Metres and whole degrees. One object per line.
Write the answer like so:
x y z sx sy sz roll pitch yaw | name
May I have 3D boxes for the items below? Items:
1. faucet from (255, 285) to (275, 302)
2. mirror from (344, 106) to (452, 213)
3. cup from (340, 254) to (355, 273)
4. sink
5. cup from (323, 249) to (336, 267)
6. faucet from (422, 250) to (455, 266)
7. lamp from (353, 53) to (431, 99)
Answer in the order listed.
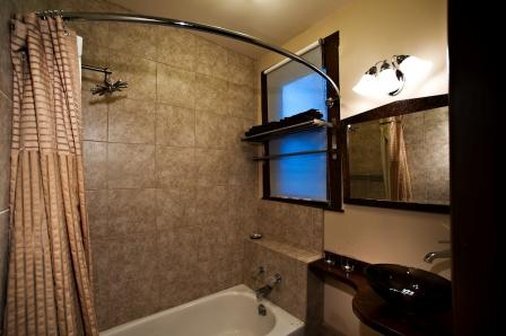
0.088 1.079 3.019 0.068 0.094 0.230 -28 -13 39 | faucet
1.055 -0.057 2.528 0.860 0.834 0.044 -2 0 41 | mirror
0.723 0.745 2.711 0.109 0.118 0.114 0 -3 0 | cup
1.000 0.798 2.322 0.515 0.279 0.386 -1 -1 25 | sink
0.611 0.730 2.821 0.106 0.109 0.104 -1 -2 0 | cup
1.263 0.613 2.426 0.171 0.099 0.089 -1 -1 11 | faucet
1.004 -0.681 2.637 0.497 0.257 0.208 -12 15 9 | lamp
